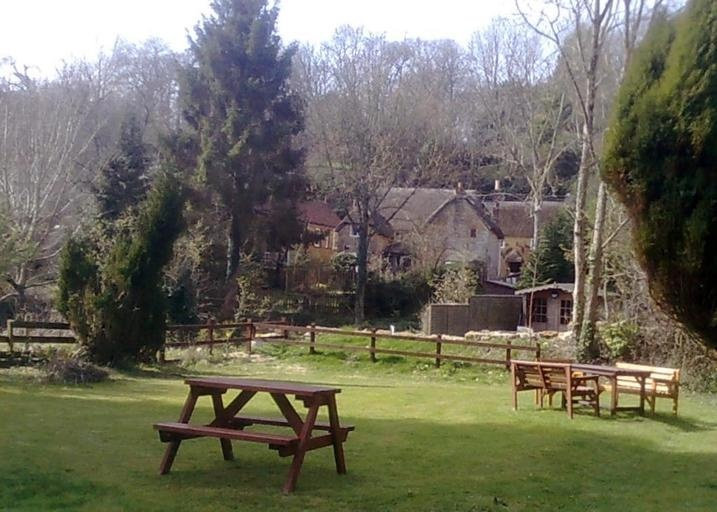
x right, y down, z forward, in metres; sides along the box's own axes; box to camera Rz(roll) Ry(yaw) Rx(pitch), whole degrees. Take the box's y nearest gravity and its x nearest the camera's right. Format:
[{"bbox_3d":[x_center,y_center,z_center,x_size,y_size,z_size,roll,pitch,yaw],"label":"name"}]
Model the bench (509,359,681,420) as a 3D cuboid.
[{"bbox_3d":[5.344,3.076,17.392,3.782,1.324,2.746,7,-12,-22],"label":"bench"}]
